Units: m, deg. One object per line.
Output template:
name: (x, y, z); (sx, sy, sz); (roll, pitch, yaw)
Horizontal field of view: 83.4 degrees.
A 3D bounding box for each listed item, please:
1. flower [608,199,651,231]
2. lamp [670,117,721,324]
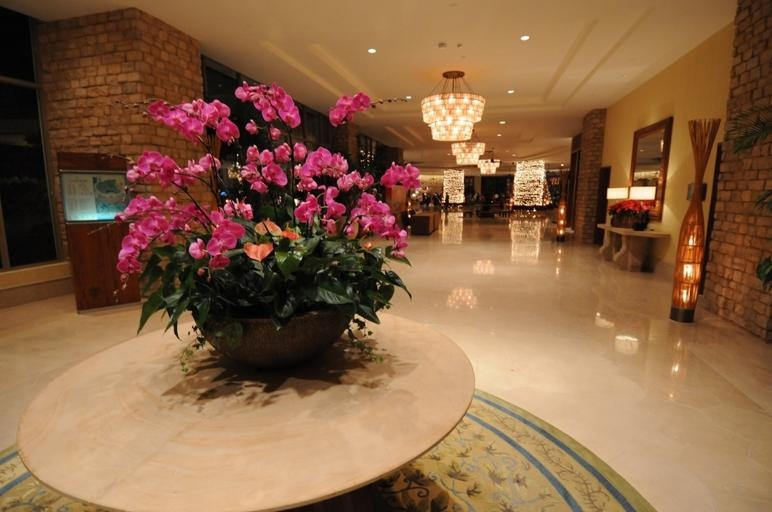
flower: (4.578, -0.766, 8.109); (0.582, 0.479, 0.705); (-1, 11, 1)
lamp: (3.508, -0.378, 4.961); (0.311, 2.302, 0.436); (7, 14, 33)
